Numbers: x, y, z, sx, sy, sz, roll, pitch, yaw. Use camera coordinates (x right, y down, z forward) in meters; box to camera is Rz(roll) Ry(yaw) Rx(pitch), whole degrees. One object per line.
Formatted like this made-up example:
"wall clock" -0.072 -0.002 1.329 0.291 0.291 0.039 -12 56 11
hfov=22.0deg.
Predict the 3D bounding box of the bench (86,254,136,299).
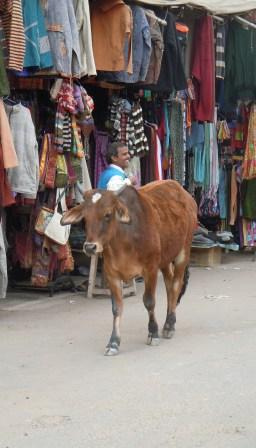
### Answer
"bench" -0.246 0.475 7.203 0.308 0.600 0.364 1 -14 4

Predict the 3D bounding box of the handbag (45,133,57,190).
"handbag" -0.769 -0.632 6.632 0.102 0.522 0.189 0 4 13

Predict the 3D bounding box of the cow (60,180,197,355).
"cow" 0.125 0.267 4.881 0.444 1.175 1.793 1 5 27

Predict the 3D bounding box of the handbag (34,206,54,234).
"handbag" -0.866 -0.047 6.732 0.073 0.277 0.188 10 0 2

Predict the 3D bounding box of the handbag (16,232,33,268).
"handbag" -1.200 0.277 7.504 0.190 0.077 0.631 -3 50 -9
